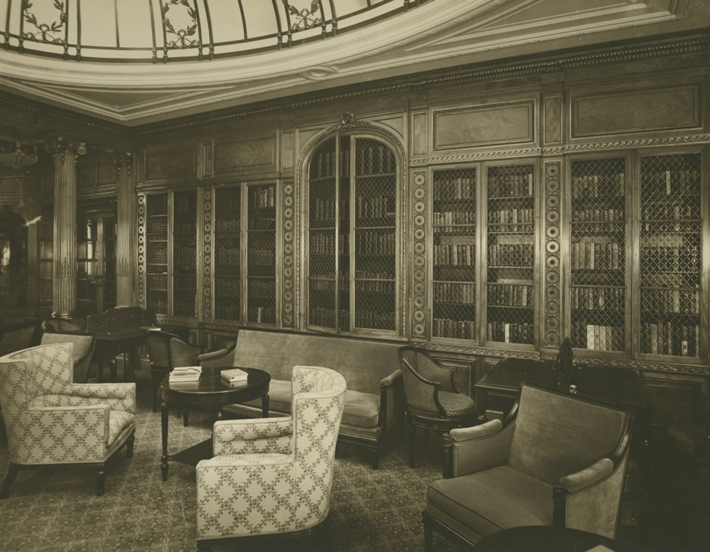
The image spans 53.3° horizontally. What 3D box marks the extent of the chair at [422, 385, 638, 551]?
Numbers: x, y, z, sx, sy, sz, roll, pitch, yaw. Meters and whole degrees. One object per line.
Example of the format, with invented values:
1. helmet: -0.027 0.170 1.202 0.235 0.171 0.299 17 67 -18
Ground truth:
1. chair: 1.564 1.873 6.417 1.416 2.031 1.478 10 -5 -39

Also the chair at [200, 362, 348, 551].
1. chair: -0.763 1.656 6.648 1.338 1.479 0.632 1 3 -7

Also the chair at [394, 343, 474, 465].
1. chair: 0.940 1.421 8.201 1.017 1.488 1.047 -3 -3 23

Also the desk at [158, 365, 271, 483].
1. desk: -1.554 1.511 7.961 1.365 1.207 1.292 1 18 -11
